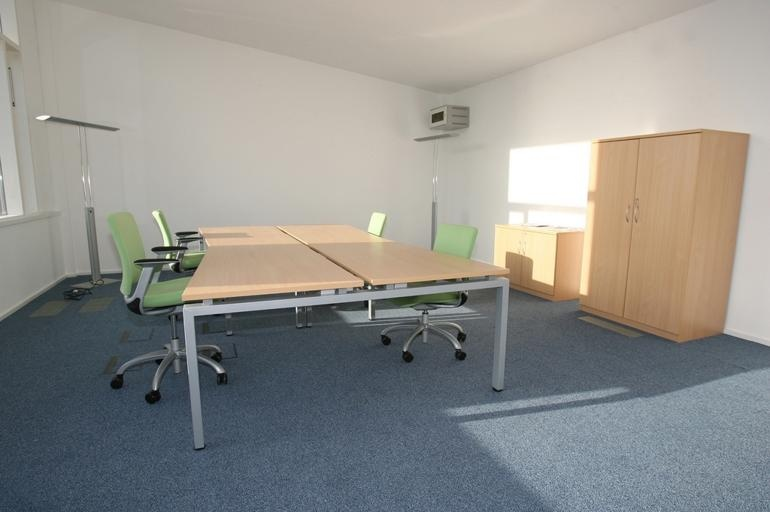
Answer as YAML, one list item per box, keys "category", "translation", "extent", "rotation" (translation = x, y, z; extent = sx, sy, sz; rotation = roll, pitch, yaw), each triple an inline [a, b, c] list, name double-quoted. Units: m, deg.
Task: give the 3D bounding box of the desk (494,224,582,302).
- category: "desk"
  translation: [2.359, 0.052, 7.681]
  extent: [0.670, 0.968, 1.300]
  rotation: [-4, 11, -28]

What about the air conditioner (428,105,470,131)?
- category: "air conditioner"
  translation: [1.275, -2.709, 9.526]
  extent: [0.494, 0.336, 0.659]
  rotation: [-7, 13, -25]

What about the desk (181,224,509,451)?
- category: "desk"
  translation: [-0.536, 0.557, 5.793]
  extent: [2.998, 1.415, 3.037]
  rotation: [-2, 12, -14]

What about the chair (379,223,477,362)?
- category: "chair"
  translation: [0.490, 0.353, 5.530]
  extent: [1.070, 1.383, 1.084]
  rotation: [8, 11, 42]
